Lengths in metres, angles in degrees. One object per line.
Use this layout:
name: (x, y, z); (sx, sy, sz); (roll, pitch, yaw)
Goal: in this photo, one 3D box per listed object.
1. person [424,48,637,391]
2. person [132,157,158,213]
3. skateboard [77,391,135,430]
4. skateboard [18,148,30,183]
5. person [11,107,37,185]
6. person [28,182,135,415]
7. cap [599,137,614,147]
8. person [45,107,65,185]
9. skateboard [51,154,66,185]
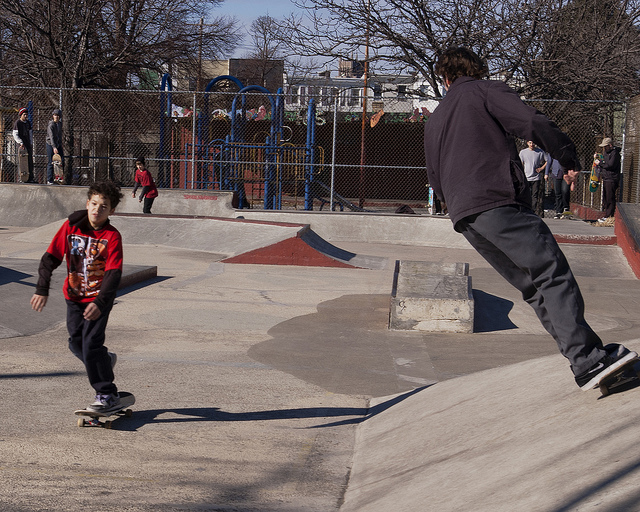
person: (1.222, -0.285, 4.394); (0.514, 2.063, 1.390); (-7, 14, -35)
person: (-4.165, -1.650, 16.590); (0.525, 1.359, 1.490); (-2, 11, -14)
skateboard: (-1.455, 1.069, 4.865); (0.176, 0.077, 0.523); (1, 1, 9)
skateboard: (-7.450, -2.282, 17.604); (0.293, 0.783, 0.136); (-5, 6, -31)
person: (-7.394, -2.739, 17.488); (0.428, 1.872, 1.250); (-4, 12, -23)
person: (-1.599, 0.274, 4.816); (0.612, 1.544, 0.472); (8, 14, 28)
cap: (6.096, -2.399, 14.811); (0.349, 0.140, 0.243); (2, -3, -33)
person: (-6.567, -2.673, 17.320); (0.418, 1.802, 1.120); (-3, 12, -20)
skateboard: (-6.611, -2.179, 17.595); (0.283, 0.801, 0.126); (-6, 32, 2)
